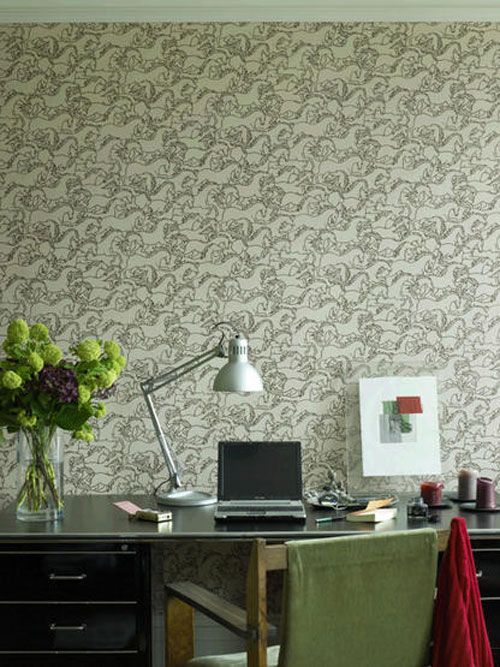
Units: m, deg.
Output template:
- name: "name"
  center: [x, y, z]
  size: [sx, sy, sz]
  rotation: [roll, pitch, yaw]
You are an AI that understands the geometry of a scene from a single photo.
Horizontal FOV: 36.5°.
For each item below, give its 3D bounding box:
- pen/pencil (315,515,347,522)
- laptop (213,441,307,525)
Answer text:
- name: "pen/pencil"
  center: [0.235, 0.532, 2.188]
  size: [0.076, 0.011, 0.013]
  rotation: [2, 1, -24]
- name: "laptop"
  center: [0.026, 0.447, 2.284]
  size: [0.302, 0.228, 0.211]
  rotation: [0, -12, -1]
